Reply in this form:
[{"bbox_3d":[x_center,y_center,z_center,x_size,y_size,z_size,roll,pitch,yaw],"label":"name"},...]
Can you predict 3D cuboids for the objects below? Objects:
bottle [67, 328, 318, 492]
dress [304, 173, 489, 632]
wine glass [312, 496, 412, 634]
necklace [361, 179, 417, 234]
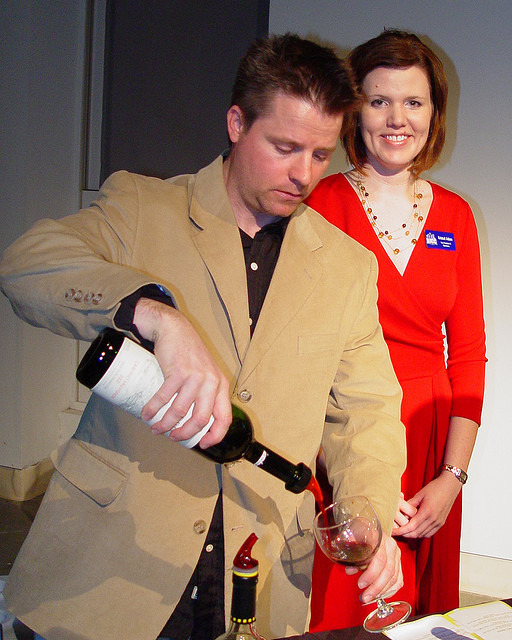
[{"bbox_3d":[-0.055,0.158,0.971,0.242,0.157,0.478,4,-7,37],"label":"bottle"},{"bbox_3d":[0.378,0.207,1.773,0.521,1.285,0.296,11,-6,-22],"label":"dress"},{"bbox_3d":[0.195,0.396,1.013,0.233,0.210,0.121,13,-7,-39],"label":"wine glass"},{"bbox_3d":[0.389,-0.327,1.790,0.180,0.213,0.018,1,-26,-3],"label":"necklace"}]
